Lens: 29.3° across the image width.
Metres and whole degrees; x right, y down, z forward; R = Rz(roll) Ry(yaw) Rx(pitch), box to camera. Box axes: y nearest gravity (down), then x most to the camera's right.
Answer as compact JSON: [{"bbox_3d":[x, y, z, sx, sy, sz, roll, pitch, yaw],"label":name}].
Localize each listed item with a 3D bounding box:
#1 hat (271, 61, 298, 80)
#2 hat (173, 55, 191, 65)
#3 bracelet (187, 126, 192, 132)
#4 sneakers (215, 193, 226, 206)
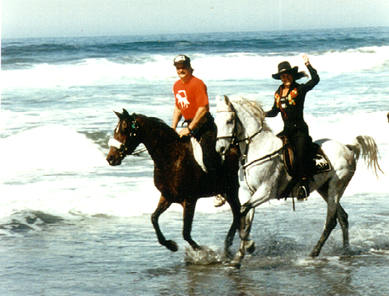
[{"bbox_3d":[1.809,-1.552,15.061,0.554,0.384,0.361,4,15,23],"label":"hat"},{"bbox_3d":[-0.271,-1.772,15.062,0.317,0.196,0.350,-3,13,-4],"label":"hat"},{"bbox_3d":[-0.115,-0.371,14.935,0.095,0.140,0.034,-8,-5,-26],"label":"bracelet"},{"bbox_3d":[0.545,1.120,16.152,0.215,0.252,0.255,-3,-1,5],"label":"sneakers"}]
